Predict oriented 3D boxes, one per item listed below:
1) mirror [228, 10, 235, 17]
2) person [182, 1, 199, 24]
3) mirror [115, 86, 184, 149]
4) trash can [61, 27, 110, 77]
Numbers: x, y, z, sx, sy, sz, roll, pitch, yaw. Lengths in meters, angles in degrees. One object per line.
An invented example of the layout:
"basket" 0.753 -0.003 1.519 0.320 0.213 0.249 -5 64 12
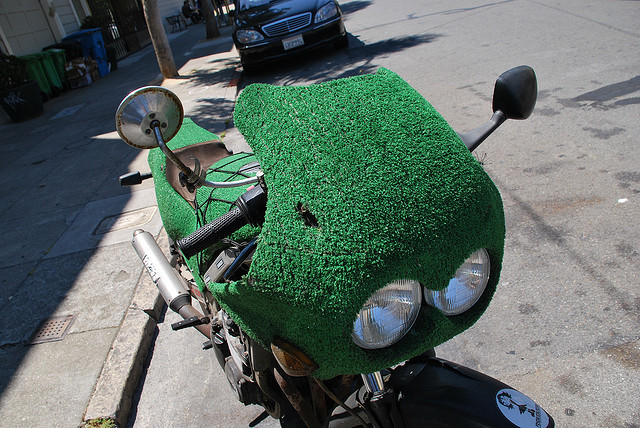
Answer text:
"mirror" -2.189 -5.019 12.202 0.177 0.049 0.185 -2 75 -1
"person" -7.732 -11.786 28.830 0.429 1.322 1.568 -12 33 -3
"mirror" -0.994 -0.674 3.430 0.327 0.496 0.728 -2 30 -10
"trash can" -7.634 -5.352 16.119 1.145 1.544 1.082 -21 27 -23
